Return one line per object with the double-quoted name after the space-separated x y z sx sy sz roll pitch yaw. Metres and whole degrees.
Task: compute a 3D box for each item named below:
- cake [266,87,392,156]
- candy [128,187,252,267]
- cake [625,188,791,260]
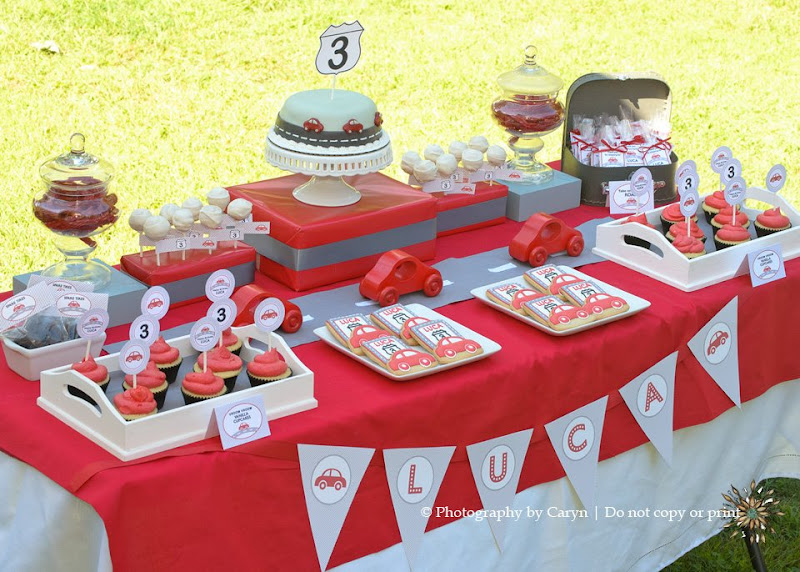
-0.215 -0.632 2.639 0.349 0.255 0.429 -19 29 -41 "cake"
-0.657 -0.198 2.413 0.491 0.201 0.234 -16 33 -34 "candy"
1.149 -0.213 2.731 0.472 0.141 0.343 -15 30 -27 "cake"
